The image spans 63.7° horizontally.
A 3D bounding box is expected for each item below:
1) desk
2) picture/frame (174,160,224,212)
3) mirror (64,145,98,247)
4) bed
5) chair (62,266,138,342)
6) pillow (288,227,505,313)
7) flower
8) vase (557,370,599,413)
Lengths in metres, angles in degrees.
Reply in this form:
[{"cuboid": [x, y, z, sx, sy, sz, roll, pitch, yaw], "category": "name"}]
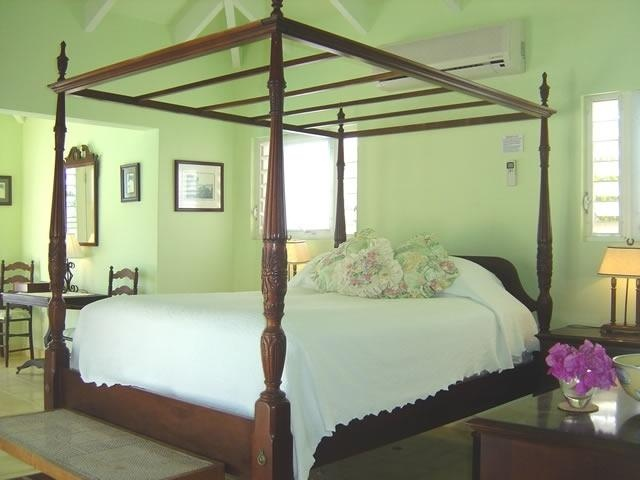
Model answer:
[{"cuboid": [-2.565, 0.852, 4.885, 0.660, 0.851, 1.158, 4, -6, -42], "category": "desk"}, {"cuboid": [-1.468, -0.652, 6.128, 0.615, 0.536, 0.046, 2, -4, -44], "category": "picture/frame"}, {"cuboid": [-3.029, -0.550, 6.571, 0.066, 1.808, 1.251, -2, 3, -42], "category": "mirror"}, {"cuboid": [0.011, -0.179, 3.861, 3.547, 2.419, 2.248, -4, 5, -40], "category": "bed"}, {"cuboid": [-2.388, 0.764, 5.816, 0.624, 0.879, 0.623, 2, -1, -32], "category": "chair"}, {"cuboid": [0.440, 0.223, 3.967, 0.778, 0.247, 0.685, 12, 25, 34], "category": "pillow"}, {"cuboid": [1.225, 0.636, 2.399, 0.257, 0.183, 0.304, -17, -13, 41], "category": "flower"}, {"cuboid": [1.216, 0.734, 2.446, 0.135, 0.104, 0.141, -2, -23, 17], "category": "vase"}]
